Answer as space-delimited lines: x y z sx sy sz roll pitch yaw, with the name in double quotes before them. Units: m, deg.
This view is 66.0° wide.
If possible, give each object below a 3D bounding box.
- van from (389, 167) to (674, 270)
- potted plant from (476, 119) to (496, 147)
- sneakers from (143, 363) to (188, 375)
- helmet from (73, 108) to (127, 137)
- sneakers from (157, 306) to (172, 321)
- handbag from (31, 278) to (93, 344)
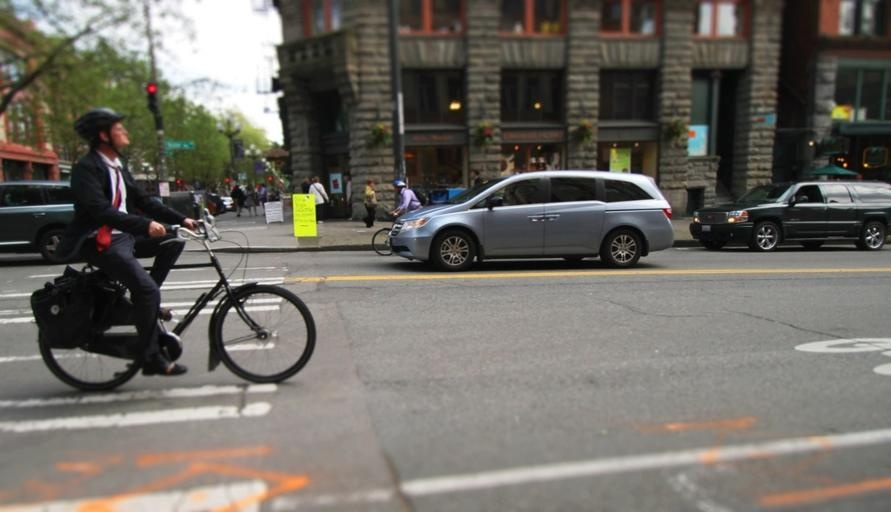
"van" 2.066 -0.810 16.373 6.024 1.956 2.657 1 0 -6
"potted plant" 1.617 -4.908 27.024 0.888 1.034 0.490 -2 5 -1
"sneakers" -3.862 1.548 9.399 0.518 0.212 0.218 -1 4 -15
"helmet" -4.668 -1.779 9.195 0.553 0.211 0.385 -20 13 -11
"sneakers" -3.868 0.785 9.364 0.174 0.196 0.472 2 6 -17
"handbag" -5.129 0.742 9.477 0.886 0.898 0.722 -1 -3 1
